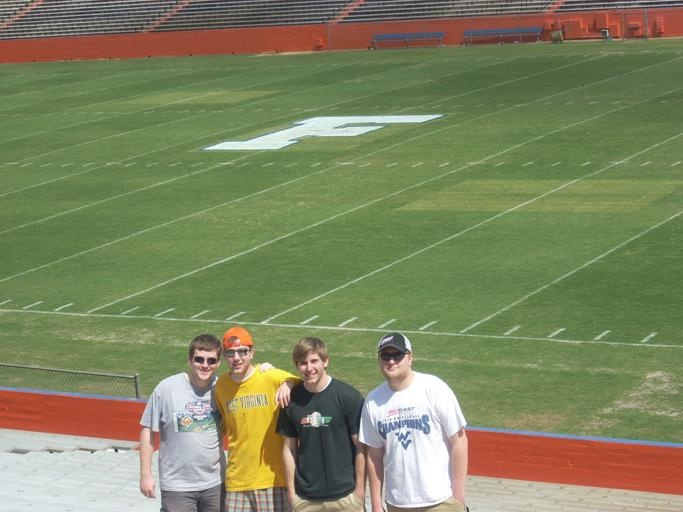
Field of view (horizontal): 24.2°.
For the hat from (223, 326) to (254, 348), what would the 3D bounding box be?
[{"bbox_3d":[-1.947,1.518,29.474,0.522,0.378,0.231,-2,3,-4],"label":"hat"}]
